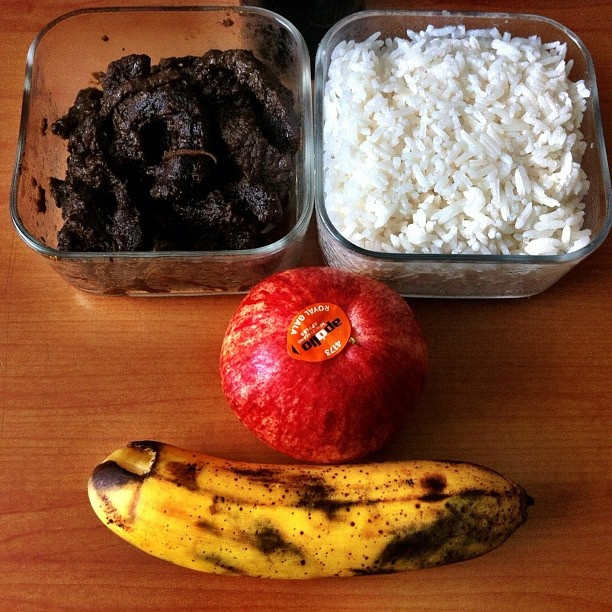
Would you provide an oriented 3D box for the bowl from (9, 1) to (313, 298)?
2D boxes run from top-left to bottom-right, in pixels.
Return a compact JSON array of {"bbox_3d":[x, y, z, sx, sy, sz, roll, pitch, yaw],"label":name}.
[{"bbox_3d":[-0.175,-0.214,1.105,0.377,0.206,0.396,-3,62,5],"label":"bowl"}]

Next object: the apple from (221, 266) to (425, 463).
[{"bbox_3d":[0.019,0.064,0.915,0.244,0.130,0.214,-6,77,-2],"label":"apple"}]
